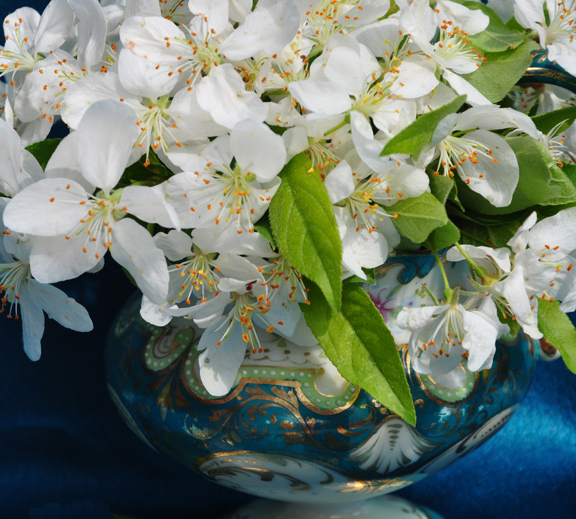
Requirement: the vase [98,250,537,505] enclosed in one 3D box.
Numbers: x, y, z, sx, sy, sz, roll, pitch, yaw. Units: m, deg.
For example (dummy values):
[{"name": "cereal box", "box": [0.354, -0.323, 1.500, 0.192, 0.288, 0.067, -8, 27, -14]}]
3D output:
[{"name": "vase", "box": [0.012, 0.112, 0.785, 0.310, 0.304, 0.176, -1, 89, -14]}]
